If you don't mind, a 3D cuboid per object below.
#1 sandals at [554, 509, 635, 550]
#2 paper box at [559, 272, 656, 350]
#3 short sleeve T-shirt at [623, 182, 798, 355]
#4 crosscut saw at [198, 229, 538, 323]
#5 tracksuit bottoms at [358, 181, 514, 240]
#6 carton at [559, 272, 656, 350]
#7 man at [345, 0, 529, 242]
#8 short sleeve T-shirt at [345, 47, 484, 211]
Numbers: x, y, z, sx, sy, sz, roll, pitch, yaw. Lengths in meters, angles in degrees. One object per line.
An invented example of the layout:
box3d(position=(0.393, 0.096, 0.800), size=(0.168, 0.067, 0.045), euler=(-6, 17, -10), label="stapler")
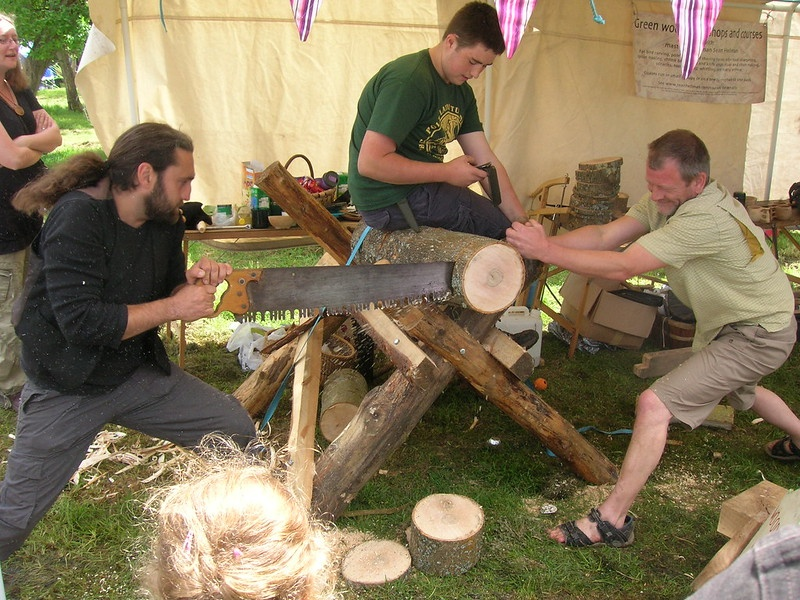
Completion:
box3d(position=(1.261, 1.487, 4.185), size=(0.522, 0.219, 0.239), euler=(-1, 6, 8), label="sandals")
box3d(position=(2.256, 0.141, 7.020), size=(0.894, 0.591, 0.820), euler=(11, 18, -26), label="paper box")
box3d(position=(2.056, -0.421, 4.522), size=(1.235, 1.256, 0.889), euler=(6, 35, 22), label="short sleeve T-shirt")
box3d(position=(-0.148, -0.158, 4.343), size=(2.077, 0.574, 0.561), euler=(-9, -6, -4), label="crosscut saw")
box3d(position=(0.285, -0.590, 4.382), size=(0.826, 0.302, 0.450), euler=(2, 36, 0), label="tracksuit bottoms")
box3d(position=(2.303, 0.229, 7.023), size=(0.891, 0.529, 0.854), euler=(15, 7, -30), label="carton")
box3d(position=(0.232, -1.158, 4.296), size=(1.180, 1.513, 0.737), euler=(-4, 21, -7), label="man")
box3d(position=(0.073, -1.143, 4.593), size=(0.602, 1.108, 1.264), euler=(17, 16, 34), label="short sleeve T-shirt")
